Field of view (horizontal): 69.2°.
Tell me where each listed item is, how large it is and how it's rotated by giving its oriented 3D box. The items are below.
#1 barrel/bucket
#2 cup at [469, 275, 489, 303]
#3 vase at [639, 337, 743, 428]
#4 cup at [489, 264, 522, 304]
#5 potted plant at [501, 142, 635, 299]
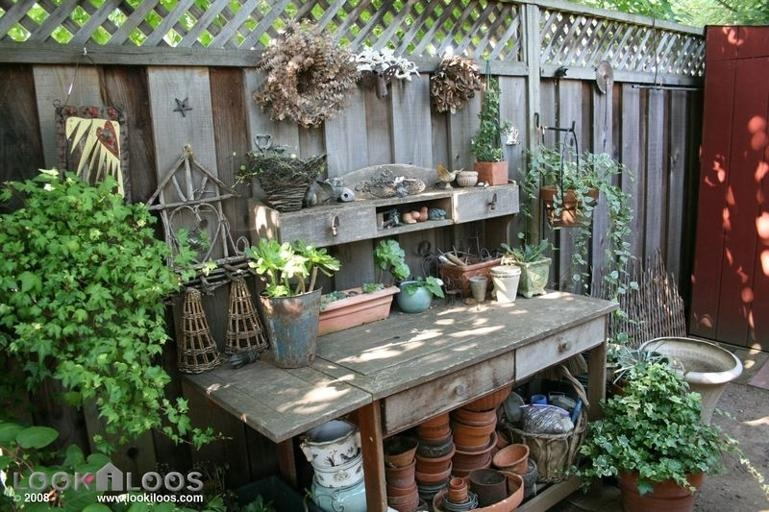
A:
[{"bbox_3d":[-0.491,0.376,3.198,0.379,0.419,0.395,-2,7,0],"label":"barrel/bucket"},{"bbox_3d":[0.638,0.220,3.772,0.163,0.176,0.164,-1,0,0],"label":"cup"},{"bbox_3d":[2.313,0.969,4.179,0.645,0.467,0.606,-10,18,-24],"label":"vase"},{"bbox_3d":[0.815,0.186,3.768,0.230,0.258,0.235,-1,2,0],"label":"cup"},{"bbox_3d":[1.419,-0.297,4.413,1.140,1.417,0.764,-10,13,-44],"label":"potted plant"}]
